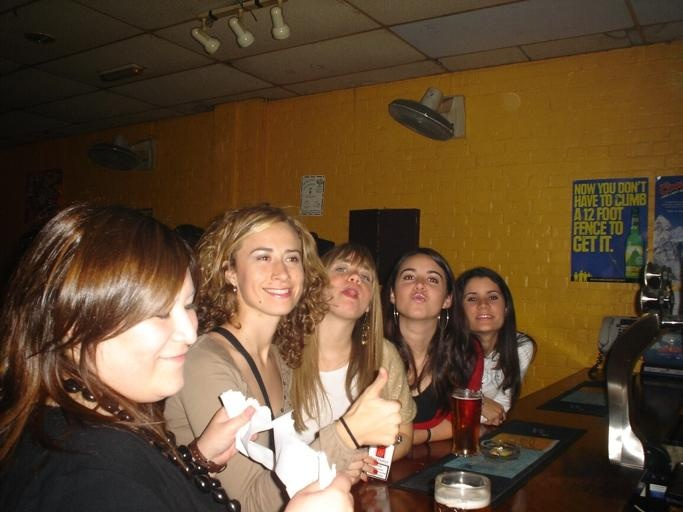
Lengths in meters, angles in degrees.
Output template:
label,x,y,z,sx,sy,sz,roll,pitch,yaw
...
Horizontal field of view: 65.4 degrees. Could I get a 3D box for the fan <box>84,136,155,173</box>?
label,x,y,z,sx,sy,sz,roll,pitch,yaw
fan,-2.368,-1.175,5.816,0.445,0.248,0.623,-2,-5,20

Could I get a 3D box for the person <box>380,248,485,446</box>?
label,x,y,z,sx,sy,sz,roll,pitch,yaw
person,0.407,0.444,2.807,0.636,1.019,0.615,-2,-9,31

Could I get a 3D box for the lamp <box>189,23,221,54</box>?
label,x,y,z,sx,sy,sz,roll,pitch,yaw
lamp,-0.988,-1.563,3.820,0.136,0.144,0.230,2,1,-42

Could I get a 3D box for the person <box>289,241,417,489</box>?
label,x,y,z,sx,sy,sz,roll,pitch,yaw
person,0.037,0.450,2.192,0.580,0.959,0.545,7,-30,-13

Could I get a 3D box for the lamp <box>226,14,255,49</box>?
label,x,y,z,sx,sy,sz,roll,pitch,yaw
lamp,-0.719,-1.575,3.763,0.161,0.162,0.240,3,0,-19

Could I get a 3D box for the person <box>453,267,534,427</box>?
label,x,y,z,sx,sy,sz,roll,pitch,yaw
person,0.875,0.556,3.243,0.612,0.915,0.567,1,-11,32

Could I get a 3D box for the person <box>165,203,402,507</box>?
label,x,y,z,sx,sy,sz,roll,pitch,yaw
person,-0.192,0.372,2.280,1.007,1.244,0.819,-4,-8,24

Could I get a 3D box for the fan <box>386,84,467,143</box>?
label,x,y,z,sx,sy,sz,roll,pitch,yaw
fan,0.668,-1.105,3.941,0.518,0.333,0.372,19,2,-26
